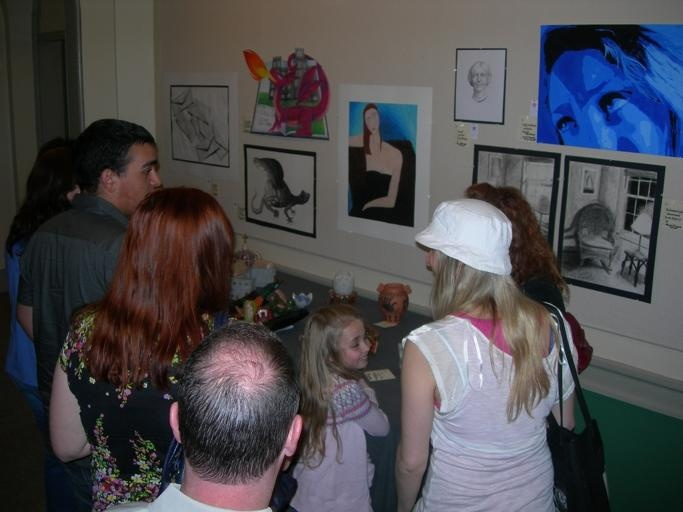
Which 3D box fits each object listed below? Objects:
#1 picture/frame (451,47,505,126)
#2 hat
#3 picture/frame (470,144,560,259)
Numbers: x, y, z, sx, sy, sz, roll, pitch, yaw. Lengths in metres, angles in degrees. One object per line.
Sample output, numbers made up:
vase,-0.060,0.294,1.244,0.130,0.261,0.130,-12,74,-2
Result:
picture/frame,0.818,-1.005,3.063,0.372,0.556,0.017,10,15,38
hat,0.444,-0.093,1.814,0.286,0.213,0.349,-9,26,-41
picture/frame,0.864,-0.263,2.495,0.475,0.646,0.023,14,19,38
